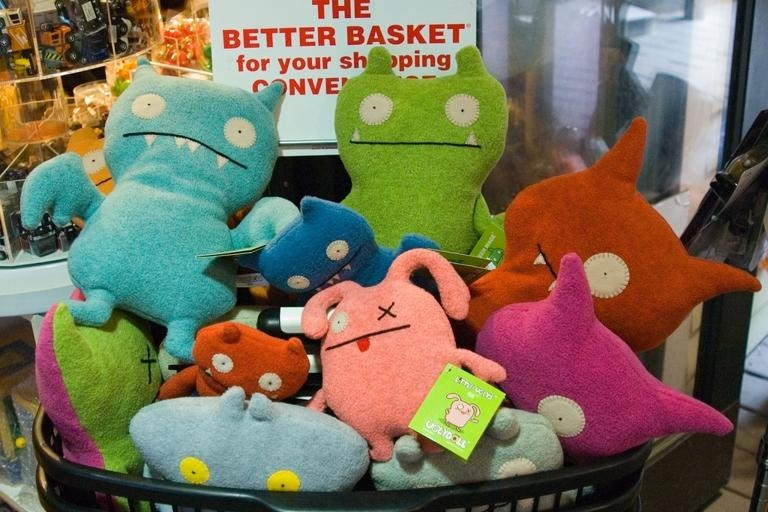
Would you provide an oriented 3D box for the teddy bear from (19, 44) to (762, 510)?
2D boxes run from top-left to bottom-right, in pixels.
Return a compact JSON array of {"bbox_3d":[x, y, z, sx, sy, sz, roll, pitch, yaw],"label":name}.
[{"bbox_3d":[0.087,-0.010,1.533,1.389,0.773,0.756,1,5,-6],"label":"teddy bear"}]
